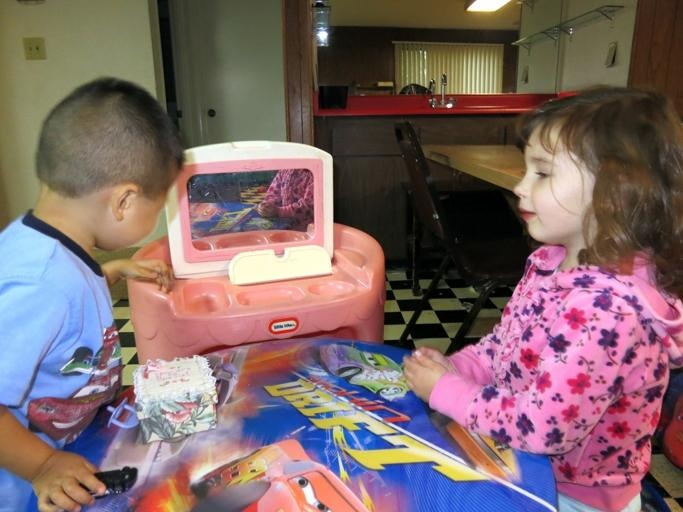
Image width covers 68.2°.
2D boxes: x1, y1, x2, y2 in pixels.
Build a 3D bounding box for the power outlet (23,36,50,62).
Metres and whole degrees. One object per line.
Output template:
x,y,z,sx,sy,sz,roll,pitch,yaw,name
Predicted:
-1.587,-1.105,2.613,0.130,0.126,0.017,0,19,-26,power outlet
